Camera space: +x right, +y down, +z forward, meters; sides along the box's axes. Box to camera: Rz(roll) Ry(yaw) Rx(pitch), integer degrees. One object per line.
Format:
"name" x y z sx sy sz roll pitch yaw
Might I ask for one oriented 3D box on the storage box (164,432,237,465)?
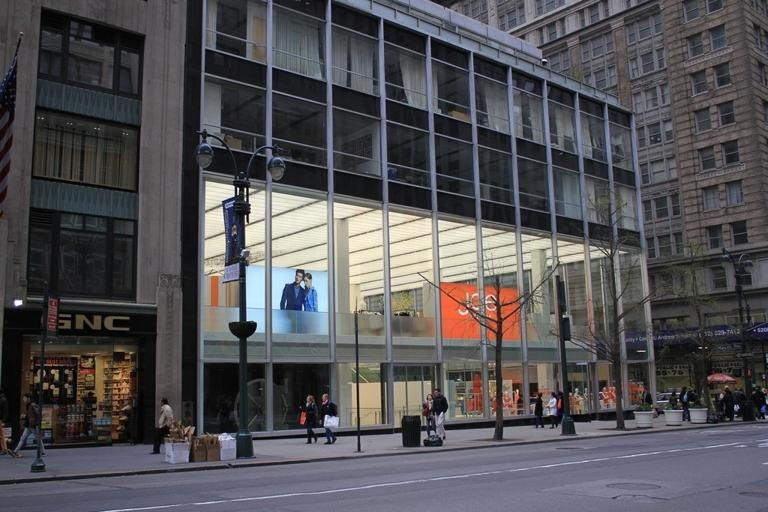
"storage box" -8.040 8.488 36.737 2.998 1.242 0.666 5 -15 -24

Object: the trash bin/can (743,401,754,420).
"trash bin/can" 24.427 10.412 56.238 0.688 1.245 0.831 -7 -15 21

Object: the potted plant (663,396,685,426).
"potted plant" 18.220 9.858 52.617 1.525 1.820 1.558 3 -13 -6
